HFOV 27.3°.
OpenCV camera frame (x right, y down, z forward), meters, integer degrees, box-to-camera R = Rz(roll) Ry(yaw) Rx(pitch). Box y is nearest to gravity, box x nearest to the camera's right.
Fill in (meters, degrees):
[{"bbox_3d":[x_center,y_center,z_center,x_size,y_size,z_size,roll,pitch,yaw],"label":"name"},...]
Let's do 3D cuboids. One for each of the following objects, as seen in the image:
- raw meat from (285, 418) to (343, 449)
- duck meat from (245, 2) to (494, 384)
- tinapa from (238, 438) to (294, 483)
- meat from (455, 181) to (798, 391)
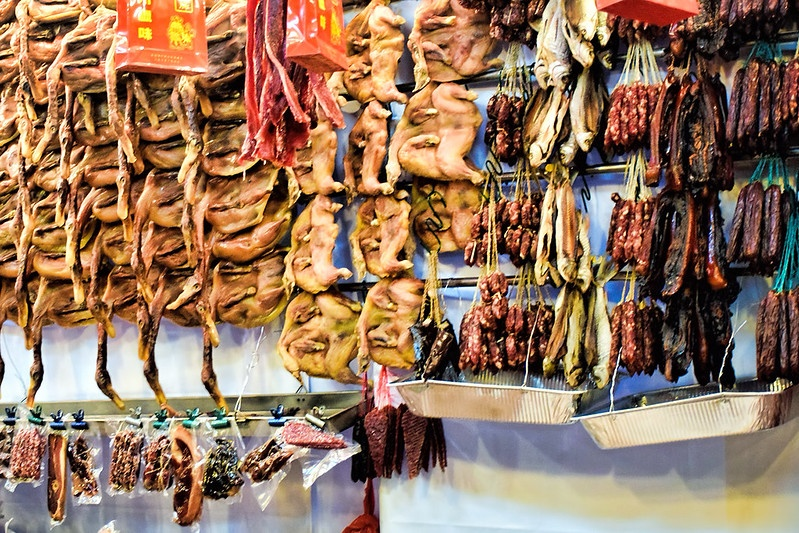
[{"bbox_3d":[-0.490,0.955,9.166,0.280,0.059,0.146,10,38,19],"label":"raw meat"},{"bbox_3d":[0.001,-0.420,9.399,1.244,2.178,0.328,3,-1,26],"label":"duck meat"},{"bbox_3d":[-0.752,1.106,9.272,0.294,0.209,0.087,-36,-9,-3],"label":"tinapa"},{"bbox_3d":[1.327,0.133,8.914,1.612,1.062,0.268,-2,1,18],"label":"meat"}]
